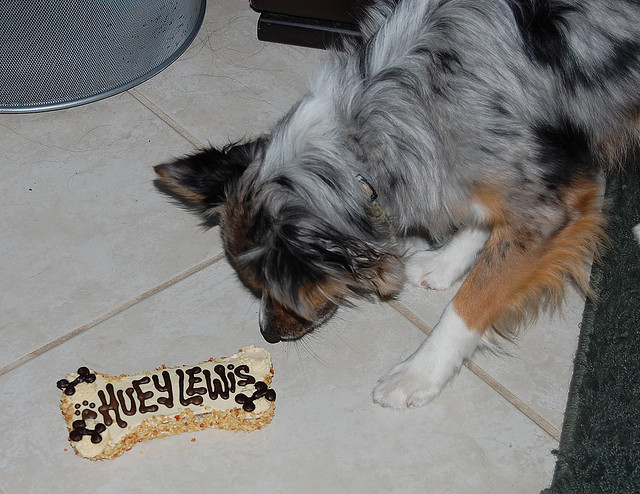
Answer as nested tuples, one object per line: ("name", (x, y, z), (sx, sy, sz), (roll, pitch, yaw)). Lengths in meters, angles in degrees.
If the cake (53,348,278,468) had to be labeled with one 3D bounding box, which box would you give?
("cake", (-0.609, 0.677, 2.702), (0.844, 0.167, 0.424), (-7, 54, -10))
